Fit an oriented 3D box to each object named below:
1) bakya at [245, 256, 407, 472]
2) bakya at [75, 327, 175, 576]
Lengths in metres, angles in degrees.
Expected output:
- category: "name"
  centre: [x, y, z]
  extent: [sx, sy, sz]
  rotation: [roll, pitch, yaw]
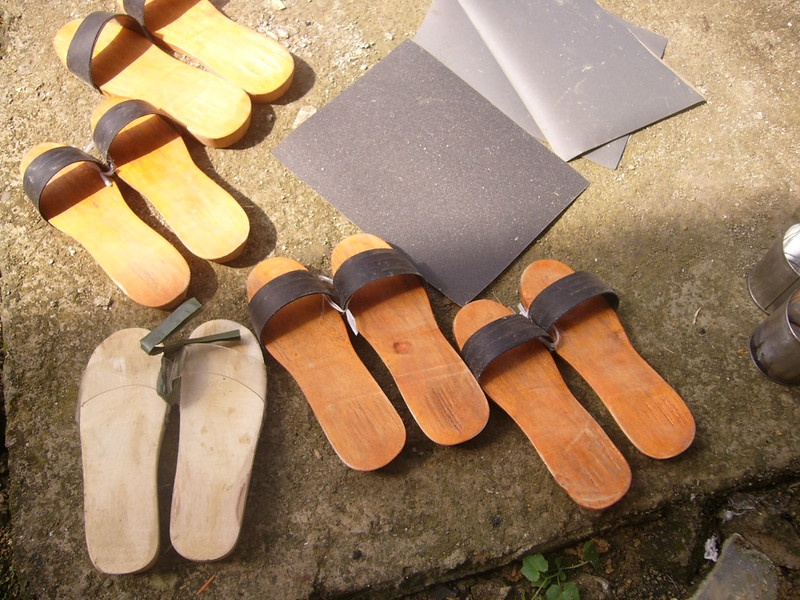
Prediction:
- category: "bakya"
  centre: [-0.344, 0.228, 3.455]
  extent: [0.370, 0.190, 1.144]
  rotation: [-24, 60, -24]
- category: "bakya"
  centre: [-1.168, 0.633, 3.403]
  extent: [0.334, 0.106, 1.043]
  rotation: [-1, 75, -3]
